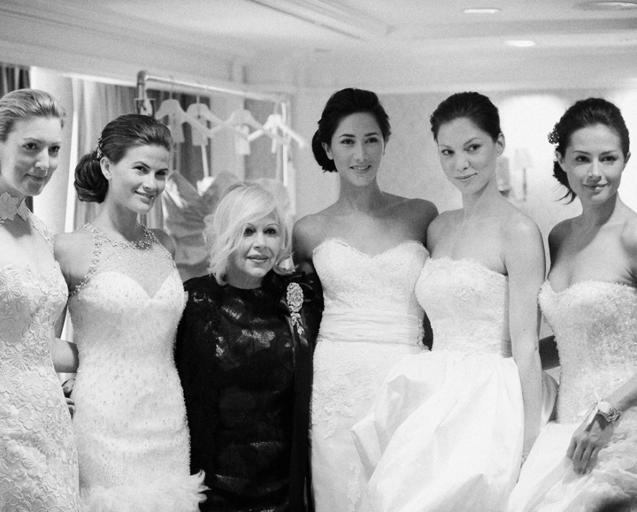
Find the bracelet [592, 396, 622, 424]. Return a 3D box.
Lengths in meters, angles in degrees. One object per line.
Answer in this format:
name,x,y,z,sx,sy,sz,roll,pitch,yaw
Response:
bracelet,0.965,0.522,2.561,0.083,0.062,0.024,36,13,7
